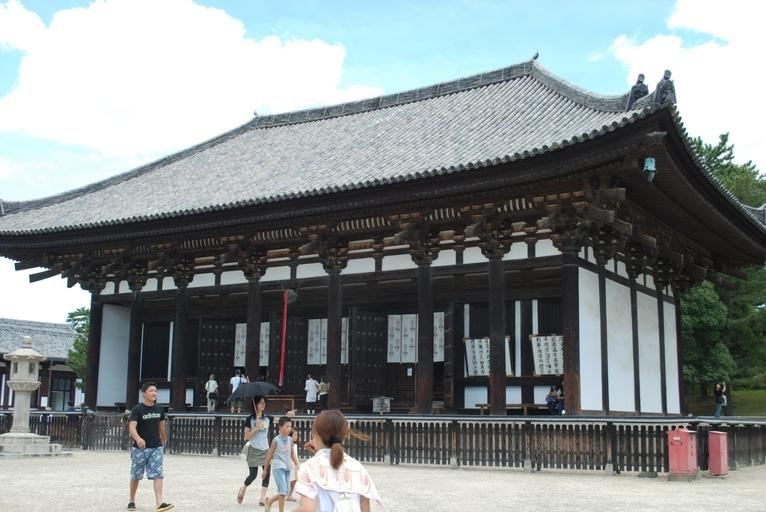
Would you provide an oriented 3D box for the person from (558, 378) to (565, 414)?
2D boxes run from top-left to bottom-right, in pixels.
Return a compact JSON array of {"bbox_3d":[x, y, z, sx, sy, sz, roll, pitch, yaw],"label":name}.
[{"bbox_3d":[4.983,3.936,22.564,0.175,0.948,0.655,-4,-15,14],"label":"person"}]

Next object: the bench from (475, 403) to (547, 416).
[{"bbox_3d":[3.706,4.309,22.590,1.831,0.444,0.429,-1,11,15],"label":"bench"}]

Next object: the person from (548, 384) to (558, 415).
[{"bbox_3d":[4.764,4.015,22.557,0.369,0.837,0.843,-4,-15,11],"label":"person"}]

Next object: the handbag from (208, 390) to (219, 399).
[{"bbox_3d":[-5.625,4.604,26.549,0.437,0.299,0.230,-1,1,-3],"label":"handbag"}]
